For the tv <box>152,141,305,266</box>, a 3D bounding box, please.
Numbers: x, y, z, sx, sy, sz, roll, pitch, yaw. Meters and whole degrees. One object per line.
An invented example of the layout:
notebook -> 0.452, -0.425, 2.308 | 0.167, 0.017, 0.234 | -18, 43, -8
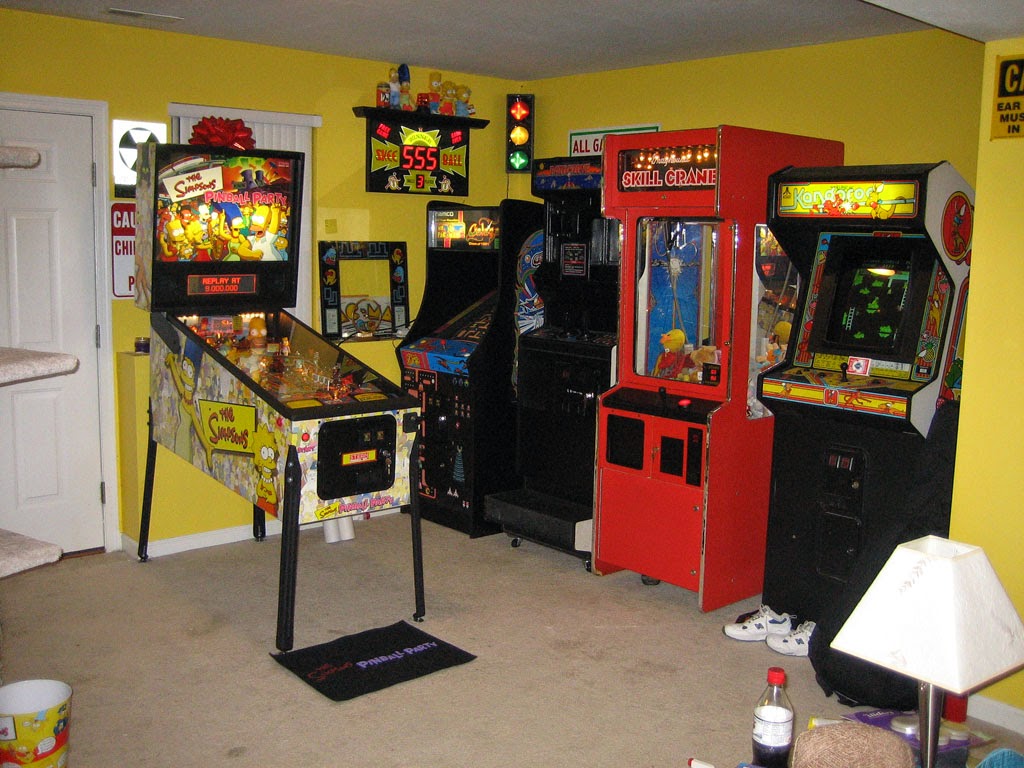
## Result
tv -> -1.818, -1.097, 5.220 | 0.954, 0.815, 0.370 | -15, 33, -42

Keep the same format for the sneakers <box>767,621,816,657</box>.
sneakers -> 1.497, 1.347, 4.487 | 0.255, 0.126, 0.172 | -4, 13, -21

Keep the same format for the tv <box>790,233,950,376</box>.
tv -> 1.771, -0.396, 4.235 | 0.666, 0.656, 0.336 | 9, 13, 11

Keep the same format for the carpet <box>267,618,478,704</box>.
carpet -> -0.705, 1.392, 4.346 | 0.900, 0.044, 0.569 | -7, 14, -30

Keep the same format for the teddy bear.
teddy bear -> 1.199, -0.183, 4.821 | 0.744, 0.347, 0.261 | 3, 12, 10

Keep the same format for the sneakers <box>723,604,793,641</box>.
sneakers -> 1.336, 1.282, 4.607 | 0.414, 0.182, 0.148 | -2, 9, 10
